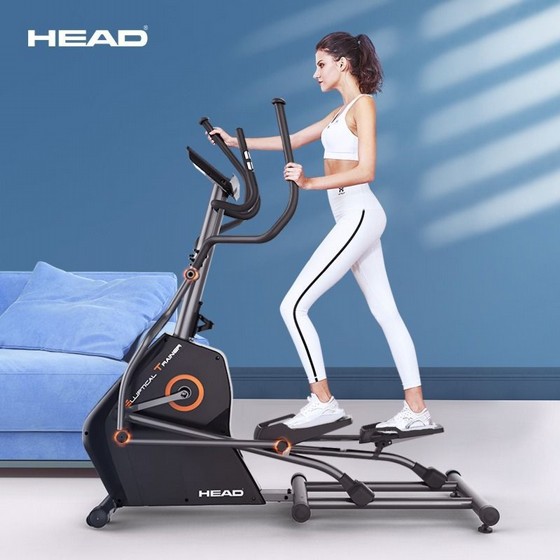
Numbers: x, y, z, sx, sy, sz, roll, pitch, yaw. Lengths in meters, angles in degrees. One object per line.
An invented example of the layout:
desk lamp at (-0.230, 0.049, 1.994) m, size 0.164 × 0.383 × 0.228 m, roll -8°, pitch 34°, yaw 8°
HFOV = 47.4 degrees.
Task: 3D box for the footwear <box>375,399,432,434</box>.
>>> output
footwear at (0.454, 0.504, 2.324) m, size 0.264 × 0.099 × 0.078 m, roll -1°, pitch -9°, yaw -3°

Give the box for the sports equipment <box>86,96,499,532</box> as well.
sports equipment at (-0.055, 0.120, 2.270) m, size 1.254 × 1.472 × 0.301 m, roll 0°, pitch 4°, yaw -2°

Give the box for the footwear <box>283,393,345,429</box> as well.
footwear at (0.122, 0.470, 2.284) m, size 0.288 × 0.113 × 0.088 m, roll -5°, pitch -18°, yaw 0°
